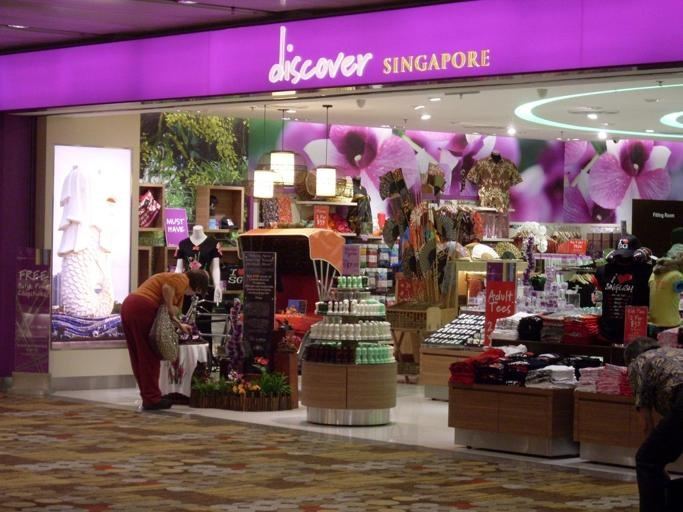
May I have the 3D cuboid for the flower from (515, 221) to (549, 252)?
[{"bbox_3d":[3.760,-0.378,12.850,0.697,0.541,0.905,1,-2,-3],"label":"flower"}]

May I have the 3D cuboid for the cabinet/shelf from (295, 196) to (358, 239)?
[{"bbox_3d":[-0.468,-0.855,13.855,0.941,0.590,0.963,1,1,40],"label":"cabinet/shelf"}]

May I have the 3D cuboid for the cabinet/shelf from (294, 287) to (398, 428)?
[{"bbox_3d":[0.097,1.198,7.340,1.021,1.417,0.834,2,-7,11],"label":"cabinet/shelf"}]

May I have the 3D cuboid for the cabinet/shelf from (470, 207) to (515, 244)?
[{"bbox_3d":[3.283,-0.682,14.221,0.793,0.746,0.393,9,-18,-31],"label":"cabinet/shelf"}]

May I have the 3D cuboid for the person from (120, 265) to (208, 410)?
[{"bbox_3d":[-2.158,1.032,7.678,1.020,1.700,0.499,-2,-5,32],"label":"person"}]

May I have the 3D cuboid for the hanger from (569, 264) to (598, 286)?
[{"bbox_3d":[4.338,0.369,11.587,0.451,0.204,0.613,1,5,13],"label":"hanger"}]

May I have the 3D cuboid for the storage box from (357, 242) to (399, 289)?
[{"bbox_3d":[0.683,0.212,12.620,0.918,0.899,0.444,0,3,13],"label":"storage box"}]

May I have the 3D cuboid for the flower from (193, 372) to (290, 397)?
[{"bbox_3d":[-1.226,1.629,7.936,0.704,0.223,0.504,-1,-5,6],"label":"flower"}]

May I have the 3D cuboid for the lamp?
[{"bbox_3d":[-0.802,-1.806,11.461,1.431,1.422,1.487,2,0,6],"label":"lamp"}]
